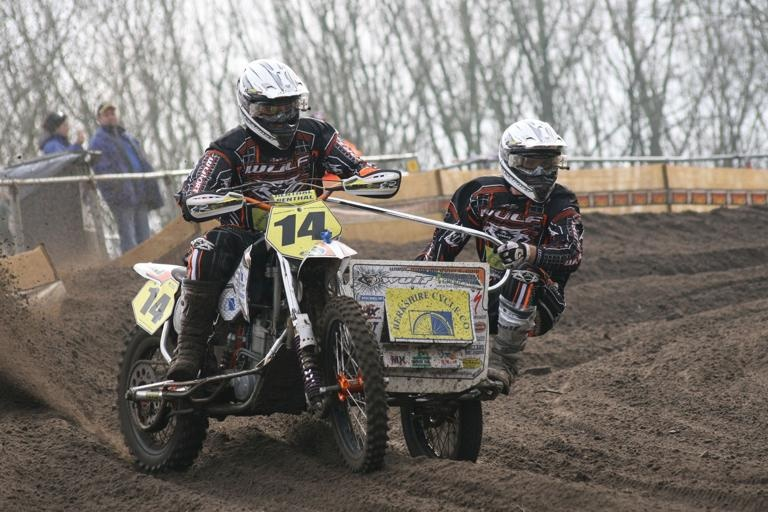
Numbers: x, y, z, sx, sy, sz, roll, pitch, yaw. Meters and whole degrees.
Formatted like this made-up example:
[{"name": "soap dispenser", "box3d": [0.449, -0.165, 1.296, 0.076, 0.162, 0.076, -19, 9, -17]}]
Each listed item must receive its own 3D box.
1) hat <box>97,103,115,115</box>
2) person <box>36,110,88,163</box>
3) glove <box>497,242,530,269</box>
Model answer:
[{"name": "hat", "box3d": [-4.351, -2.300, 18.152, 0.259, 0.201, 0.357, -5, 14, -13]}, {"name": "person", "box3d": [-4.980, -1.774, 18.027, 0.702, 0.858, 1.011, -2, 10, -16]}, {"name": "glove", "box3d": [1.489, 0.006, 13.358, 0.353, 0.281, 0.320, 0, 22, -25]}]
